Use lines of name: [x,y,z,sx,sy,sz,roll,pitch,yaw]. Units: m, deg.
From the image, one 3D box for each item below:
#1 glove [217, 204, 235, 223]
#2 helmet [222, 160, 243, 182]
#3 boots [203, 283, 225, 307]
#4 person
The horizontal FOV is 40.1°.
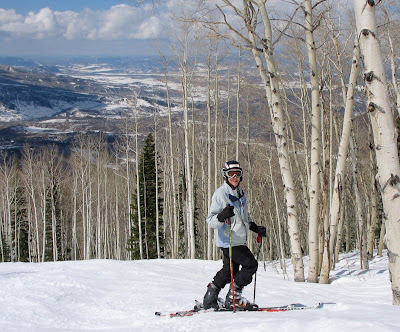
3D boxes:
glove: [0.653,1.192,13.568,0.445,0.350,0.186,-42,-57,20]
helmet: [0.826,0.118,13.861,0.384,0.542,0.492,1,-4,-10]
boots: [0.335,3.359,14.015,0.362,0.289,0.636,22,-64,-27]
person: [0.795,1.736,13.911,1.386,3.697,1.010,-3,-7,6]
